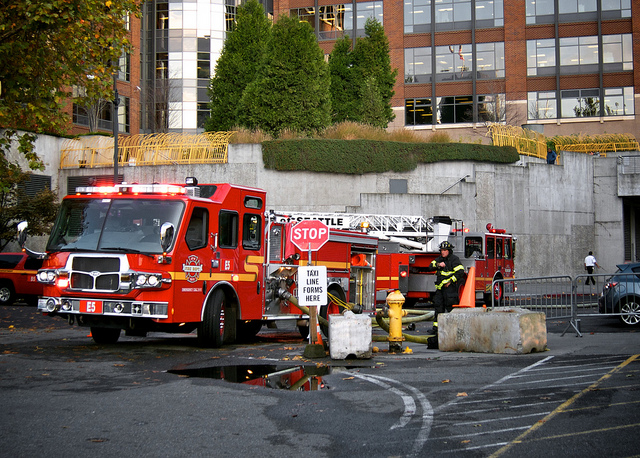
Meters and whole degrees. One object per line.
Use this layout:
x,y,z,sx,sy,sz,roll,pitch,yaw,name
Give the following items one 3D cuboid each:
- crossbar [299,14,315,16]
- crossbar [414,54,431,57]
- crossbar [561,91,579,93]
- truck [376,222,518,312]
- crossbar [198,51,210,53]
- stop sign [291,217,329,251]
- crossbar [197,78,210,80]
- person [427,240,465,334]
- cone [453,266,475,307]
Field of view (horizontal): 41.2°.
-1.098,-16.650,66.114,1.008,0.096,0.200,3,10,13,crossbar
7.437,-12.656,61.995,1.122,0.183,0.146,2,9,7,crossbar
17.487,-9.648,59.733,0.976,0.098,0.167,0,10,-3,crossbar
4.460,1.407,31.697,7.262,2.973,2.662,2,-4,-42,truck
-9.092,-13.873,66.528,1.301,0.211,0.093,-3,1,-13,crossbar
-0.250,0.149,20.127,0.776,0.747,0.110,3,-13,-4,stop sign
-9.078,-11.752,66.484,1.303,0.214,0.101,-1,-2,-7,crossbar
3.134,1.559,21.253,0.774,2.379,1.100,2,9,7,person
3.599,1.438,21.303,0.441,1.008,0.944,3,10,14,cone
